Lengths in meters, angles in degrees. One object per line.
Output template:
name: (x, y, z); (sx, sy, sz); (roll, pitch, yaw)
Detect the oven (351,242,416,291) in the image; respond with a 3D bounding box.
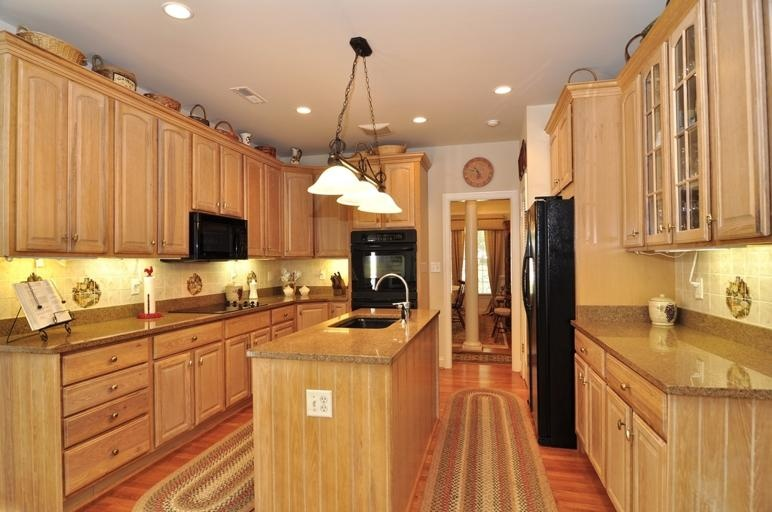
oven: (-0.197, 0.201, 6.461); (0.985, 0.642, 0.536); (1, -3, -38)

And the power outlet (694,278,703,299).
power outlet: (2.325, 0.242, 3.856); (0.079, 0.144, 0.150); (1, -4, 19)

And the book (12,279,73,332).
book: (-2.515, 0.347, 3.814); (0.309, 0.326, 0.380); (-5, 10, -22)

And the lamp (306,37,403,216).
lamp: (-0.260, -1.259, 4.894); (0.785, 1.828, 1.219); (-2, -8, 18)

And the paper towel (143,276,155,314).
paper towel: (-2.079, 0.325, 4.541); (0.089, 0.412, 0.120); (-4, 11, -16)

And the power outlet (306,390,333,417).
power outlet: (-0.416, 0.938, 3.310); (0.188, 0.173, 0.018); (-1, 0, 10)

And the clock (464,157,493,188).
clock: (1.168, -1.030, 6.691); (0.378, 0.350, 0.366); (-11, 0, 9)

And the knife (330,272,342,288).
knife: (-0.631, 0.315, 6.596); (0.083, 0.263, 0.102); (-8, 40, -10)
